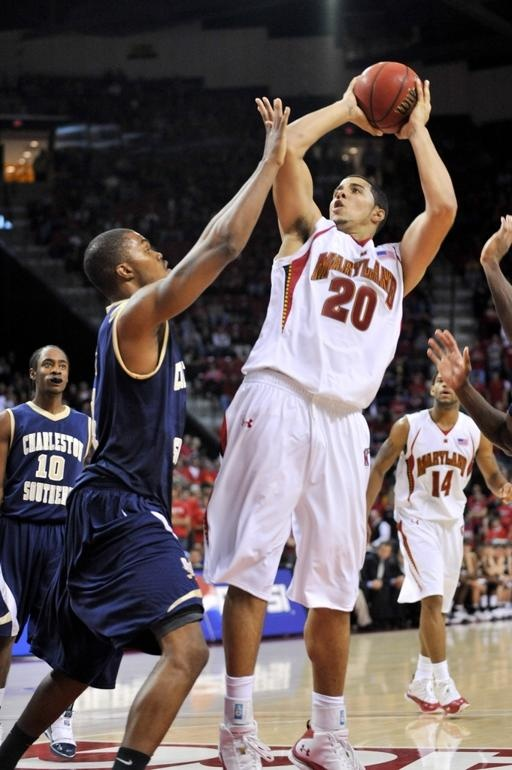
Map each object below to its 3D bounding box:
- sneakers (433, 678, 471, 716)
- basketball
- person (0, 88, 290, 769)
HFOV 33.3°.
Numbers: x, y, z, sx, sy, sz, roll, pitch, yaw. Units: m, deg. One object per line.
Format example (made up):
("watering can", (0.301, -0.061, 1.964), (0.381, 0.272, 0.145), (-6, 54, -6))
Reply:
("sneakers", (1.122, 1.816, 4.977), (0.108, 0.122, 0.292), (-27, -9, -8))
("basketball", (0.562, -1.159, 3.453), (0.259, 0.279, 0.252), (5, -5, 16))
("person", (-0.388, 0.293, 2.758), (0.934, 2.498, 1.032), (0, 7, -7))
